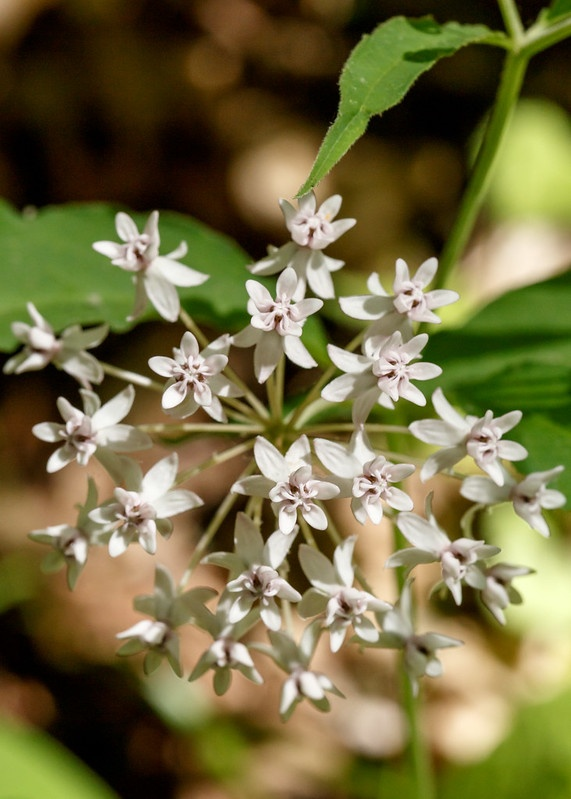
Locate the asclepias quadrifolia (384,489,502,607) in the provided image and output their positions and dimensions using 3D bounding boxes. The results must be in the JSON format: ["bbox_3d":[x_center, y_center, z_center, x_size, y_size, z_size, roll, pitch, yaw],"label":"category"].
[{"bbox_3d":[0.543,0.475,2.792,0.397,0.349,0.156,34,11,15],"label":"asclepias quadrifolia"}]

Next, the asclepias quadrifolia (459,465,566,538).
[{"bbox_3d":[0.741,0.314,2.677,0.311,0.236,0.130,7,9,15],"label":"asclepias quadrifolia"}]

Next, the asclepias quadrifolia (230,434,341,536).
[{"bbox_3d":[-0.005,0.266,2.614,0.318,0.308,0.191,-1,9,-20],"label":"asclepias quadrifolia"}]

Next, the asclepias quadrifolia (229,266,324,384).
[{"bbox_3d":[-0.020,-0.240,2.703,0.354,0.342,0.156,1,8,20],"label":"asclepias quadrifolia"}]

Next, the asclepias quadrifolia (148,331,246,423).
[{"bbox_3d":[-0.276,-0.070,2.627,0.293,0.278,0.126,2,8,-3],"label":"asclepias quadrifolia"}]

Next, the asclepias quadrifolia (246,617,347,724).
[{"bbox_3d":[0.049,0.888,2.794,0.332,0.305,0.150,43,-6,3],"label":"asclepias quadrifolia"}]

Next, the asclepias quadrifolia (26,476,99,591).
[{"bbox_3d":[-0.738,0.453,2.851,0.364,0.339,0.149,-1,-6,1],"label":"asclepias quadrifolia"}]

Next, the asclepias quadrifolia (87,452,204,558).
[{"bbox_3d":[-0.442,0.335,2.643,0.338,0.310,0.174,0,8,-11],"label":"asclepias quadrifolia"}]

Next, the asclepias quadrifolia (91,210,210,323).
[{"bbox_3d":[-0.448,-0.442,2.808,0.293,0.357,0.238,8,10,39],"label":"asclepias quadrifolia"}]

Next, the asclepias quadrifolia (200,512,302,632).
[{"bbox_3d":[-0.097,0.554,2.618,0.300,0.384,0.161,2,8,1],"label":"asclepias quadrifolia"}]
